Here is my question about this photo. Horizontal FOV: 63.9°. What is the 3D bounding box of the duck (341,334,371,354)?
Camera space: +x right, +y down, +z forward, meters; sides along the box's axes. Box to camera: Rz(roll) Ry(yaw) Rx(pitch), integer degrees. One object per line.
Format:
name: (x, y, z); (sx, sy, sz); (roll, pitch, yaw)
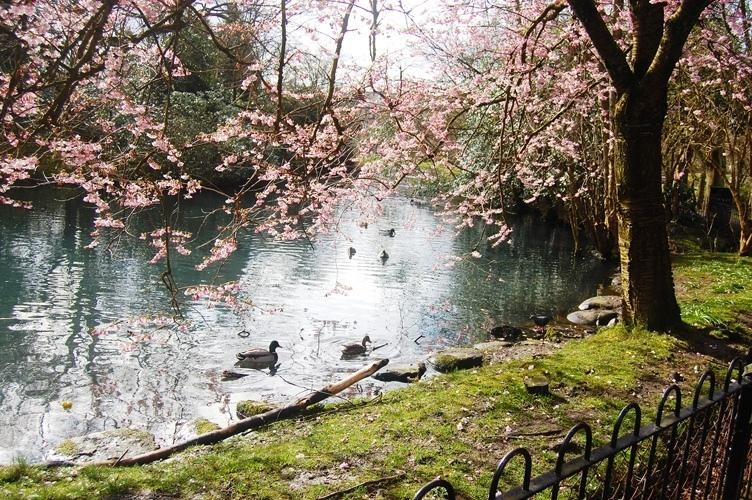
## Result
duck: (-0.500, 2.637, 16.895); (0.499, 0.482, 0.928); (-5, -6, 34)
